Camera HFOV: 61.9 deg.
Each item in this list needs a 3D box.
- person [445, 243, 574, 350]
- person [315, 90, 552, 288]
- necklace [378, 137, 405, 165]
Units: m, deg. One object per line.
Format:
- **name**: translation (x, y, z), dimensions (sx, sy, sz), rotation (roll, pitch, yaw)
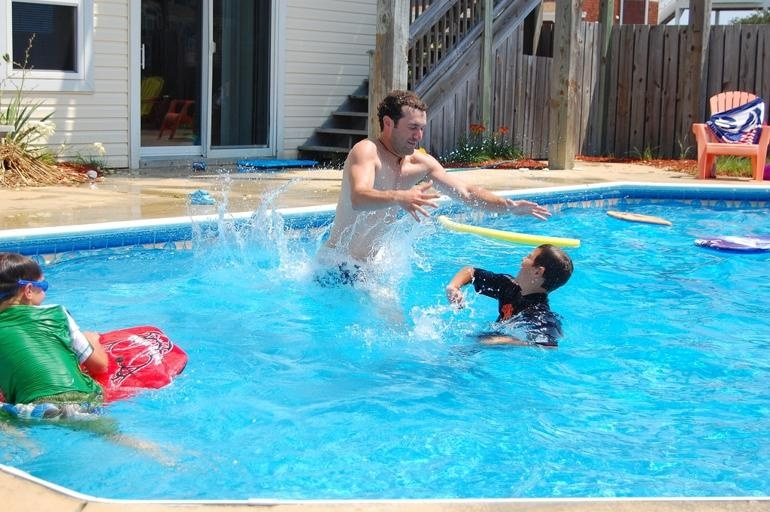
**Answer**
- **person**: translation (0.879, 0.282, 4.428), dimensions (0.733, 0.709, 0.256), rotation (0, 6, 14)
- **person**: translation (0.171, -0.473, 4.675), dimensions (1.125, 1.429, 1.516), rotation (-5, 8, -29)
- **necklace**: translation (0.029, -0.781, 4.781), dimensions (0.192, 0.185, 0.099), rotation (-2, 6, -5)
